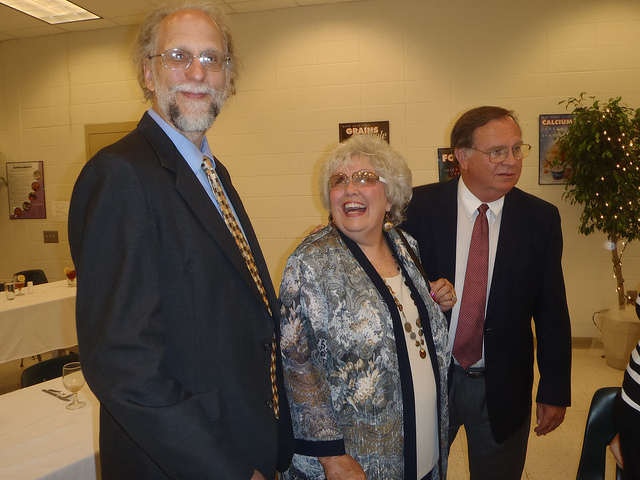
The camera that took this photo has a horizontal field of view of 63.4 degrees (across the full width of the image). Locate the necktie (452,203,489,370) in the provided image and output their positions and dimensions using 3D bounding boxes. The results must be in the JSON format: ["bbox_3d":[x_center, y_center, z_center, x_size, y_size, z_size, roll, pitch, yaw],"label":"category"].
[{"bbox_3d":[0.780,0.300,2.663,0.197,1.102,0.082,3,37,13],"label":"necktie"}]

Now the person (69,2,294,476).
[{"bbox_3d":[-0.519,0.027,1.931,0.753,1.887,0.620,-8,10,-30],"label":"person"}]

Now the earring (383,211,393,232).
[{"bbox_3d":[0.324,-0.084,2.496,0.041,0.099,0.077,-1,9,13],"label":"earring"}]

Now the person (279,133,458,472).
[{"bbox_3d":[0.198,0.298,2.314,0.819,1.509,0.574,-5,9,-14],"label":"person"}]

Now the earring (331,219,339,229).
[{"bbox_3d":[0.068,-0.071,2.374,0.007,0.037,0.033,-16,9,-33],"label":"earring"}]

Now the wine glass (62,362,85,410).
[{"bbox_3d":[-1.304,0.774,2.768,0.113,0.234,0.110,0,-2,-39],"label":"wine glass"}]

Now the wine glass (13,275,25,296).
[{"bbox_3d":[-2.846,0.439,4.927,0.120,0.226,0.134,1,-7,-18],"label":"wine glass"}]
